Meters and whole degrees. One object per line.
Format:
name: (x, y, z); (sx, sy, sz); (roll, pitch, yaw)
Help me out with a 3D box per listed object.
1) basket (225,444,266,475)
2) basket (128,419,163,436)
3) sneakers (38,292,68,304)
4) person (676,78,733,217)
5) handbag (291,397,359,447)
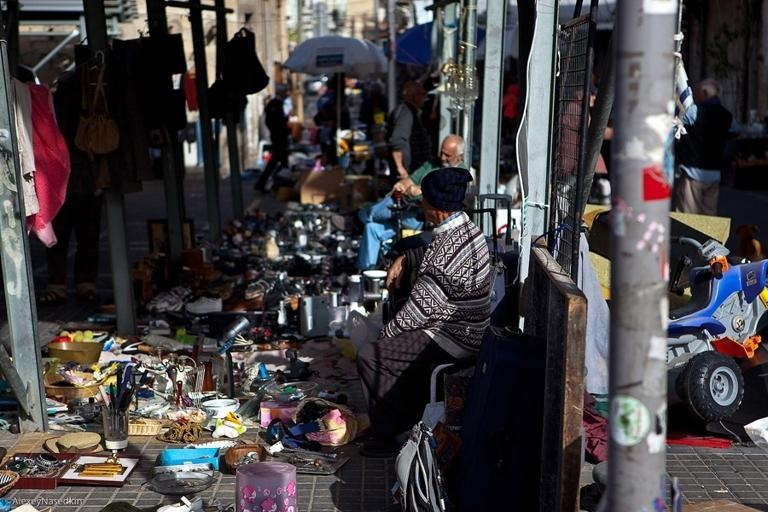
basket: (-1.248, 1.770, 8.522); (0.393, 0.208, 0.328); (-1, 11, 4)
basket: (-2.242, 1.604, 9.073); (0.292, 0.130, 0.119); (-2, 10, 0)
sneakers: (-4.310, 0.554, 12.664); (0.147, 0.165, 0.400); (0, -5, 44)
person: (4.290, -1.465, 13.176); (0.865, 1.801, 0.551); (-8, 12, -33)
handbag: (-0.540, 1.535, 9.010); (0.612, 0.340, 0.405); (-2, 10, -3)
